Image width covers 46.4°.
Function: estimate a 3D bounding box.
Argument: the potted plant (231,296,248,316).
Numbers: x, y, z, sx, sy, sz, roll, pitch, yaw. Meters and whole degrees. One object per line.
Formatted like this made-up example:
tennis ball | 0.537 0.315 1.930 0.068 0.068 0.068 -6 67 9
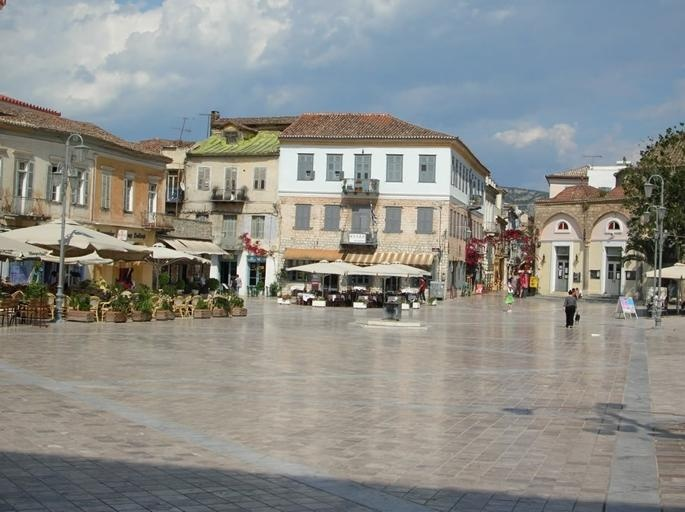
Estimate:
potted plant | -4.259 1.900 30.882 0.697 0.775 0.856 -1 -1 30
